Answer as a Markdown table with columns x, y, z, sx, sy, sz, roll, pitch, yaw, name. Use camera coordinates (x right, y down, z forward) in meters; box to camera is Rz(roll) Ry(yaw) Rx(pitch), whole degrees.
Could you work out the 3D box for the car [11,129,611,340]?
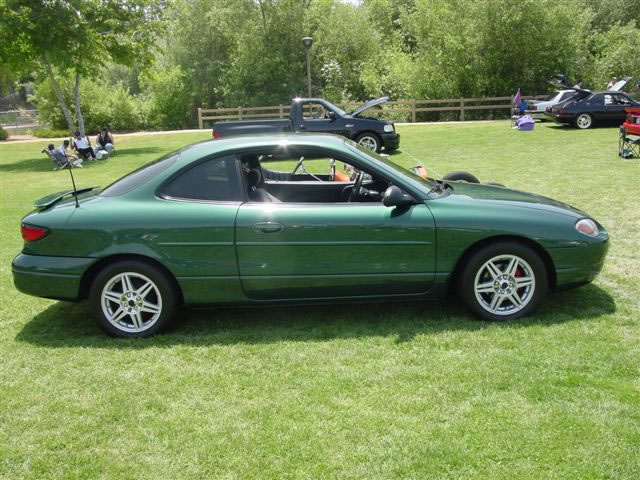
| x | y | z | sx | sy | sz | roll | pitch | yaw | name |
| --- | --- | --- | --- | --- | --- | --- | --- | --- | --- |
| -0.351 | -0.067 | 5.714 | 5.992 | 1.489 | 2.261 | -2 | 7 | 0 | car |
